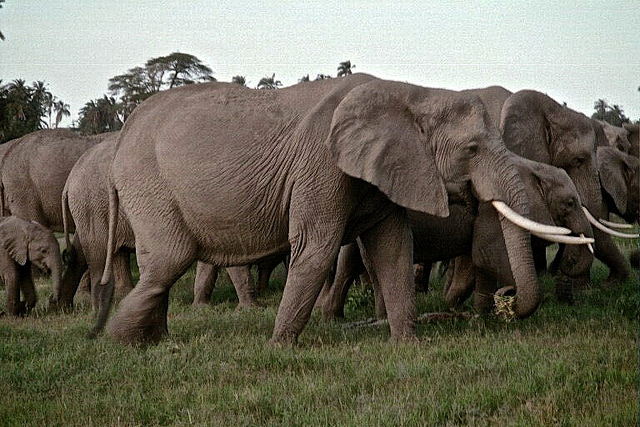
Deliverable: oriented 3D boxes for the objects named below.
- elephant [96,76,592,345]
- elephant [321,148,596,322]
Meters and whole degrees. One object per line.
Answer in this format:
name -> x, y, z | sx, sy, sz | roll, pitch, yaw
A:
elephant -> -0.074, -0.159, 10.466 | 7.208, 4.659, 3.016 | -1, 2, 8
elephant -> 1.906, 0.392, 10.998 | 4.413, 2.828, 2.179 | -9, -1, 6
